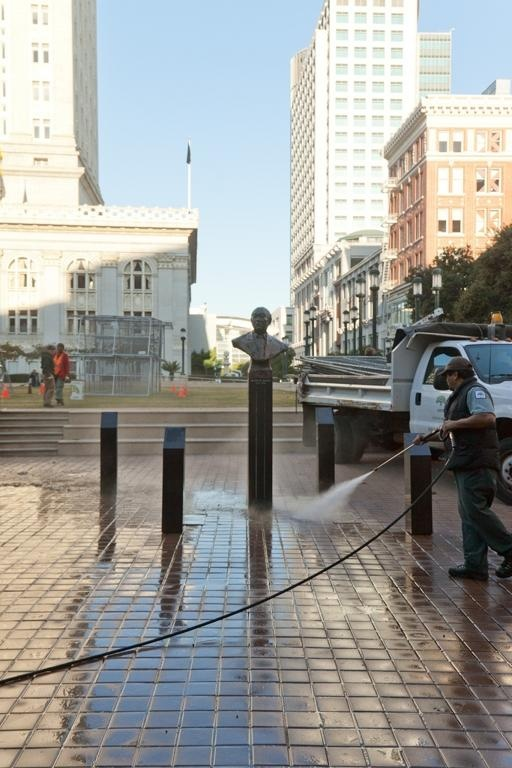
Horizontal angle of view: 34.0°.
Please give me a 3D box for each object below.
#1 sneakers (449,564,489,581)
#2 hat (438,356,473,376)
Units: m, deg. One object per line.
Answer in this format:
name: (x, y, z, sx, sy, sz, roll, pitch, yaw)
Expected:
sneakers: (1.600, 1.390, 6.362, 0.297, 0.149, 0.112, 8, -1, 17)
hat: (1.532, -0.149, 6.429, 0.133, 0.112, 0.186, -3, 8, -38)
